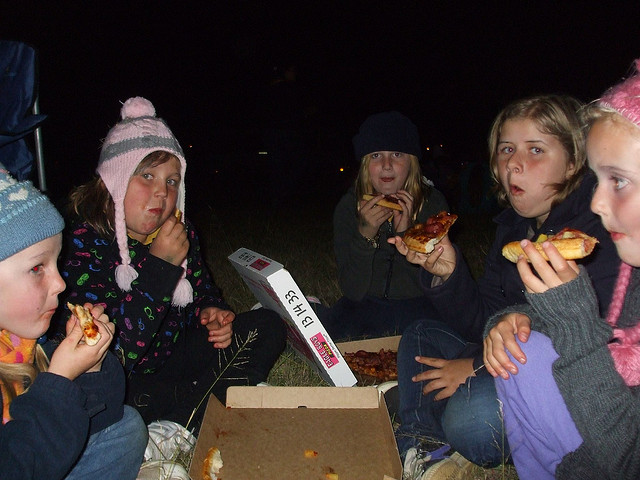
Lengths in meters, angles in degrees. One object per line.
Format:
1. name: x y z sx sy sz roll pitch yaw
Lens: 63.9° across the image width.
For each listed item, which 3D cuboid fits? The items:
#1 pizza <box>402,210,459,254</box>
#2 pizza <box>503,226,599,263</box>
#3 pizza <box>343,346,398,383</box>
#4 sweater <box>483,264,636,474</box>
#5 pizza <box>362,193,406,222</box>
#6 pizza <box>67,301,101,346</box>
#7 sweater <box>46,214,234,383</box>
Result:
1. pizza: 0.914 -0.057 4.190 0.405 0.152 0.327 -24 31 1
2. pizza: 1.501 0.029 3.227 0.371 0.137 0.390 -14 -2 -8
3. pizza: 0.458 1.098 4.672 0.440 0.176 0.815 11 -2 11
4. sweater: 1.256 0.721 2.689 0.315 0.990 0.730 -9 21 13
5. pizza: 0.654 -0.309 5.288 0.315 0.300 0.476 -12 22 -18
6. pizza: -1.341 0.469 2.925 0.138 0.070 0.270 -14 62 -46
7. sweater: -1.387 0.417 3.704 0.446 1.357 0.976 -9 -13 37
